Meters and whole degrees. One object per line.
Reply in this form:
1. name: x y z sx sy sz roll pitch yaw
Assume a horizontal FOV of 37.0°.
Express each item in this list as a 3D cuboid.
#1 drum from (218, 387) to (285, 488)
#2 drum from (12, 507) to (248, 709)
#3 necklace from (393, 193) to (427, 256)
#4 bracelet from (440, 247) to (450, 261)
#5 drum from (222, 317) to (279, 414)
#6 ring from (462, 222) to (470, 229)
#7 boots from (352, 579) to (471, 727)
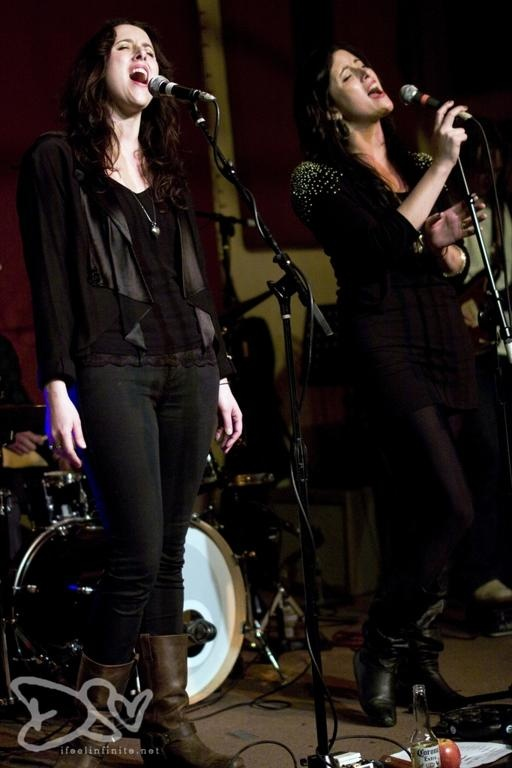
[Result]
1. drum: -0.061 0.219 2.915 0.197 0.318 0.331 2 0 10
2. drum: -0.294 0.637 2.240 0.386 0.466 0.499 -2 17 29
3. necklace: 0.420 -0.436 2.083 0.112 0.142 0.049 -1 -7 -2
4. bracelet: 0.518 -0.363 2.117 0.008 0.030 0.033 16 12 17
5. drum: -0.011 -0.070 2.989 0.089 0.343 0.252 -1 3 -10
6. ring: 0.557 -0.424 2.049 0.021 0.017 0.005 -6 -1 -24
7. boots: 0.375 0.689 1.952 0.253 0.340 0.177 -6 -1 1
